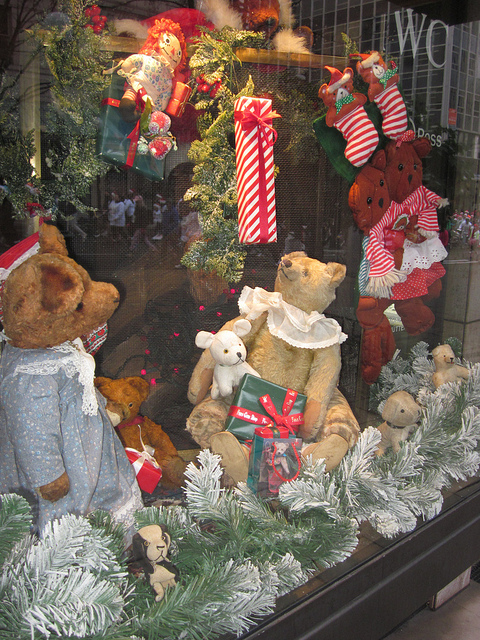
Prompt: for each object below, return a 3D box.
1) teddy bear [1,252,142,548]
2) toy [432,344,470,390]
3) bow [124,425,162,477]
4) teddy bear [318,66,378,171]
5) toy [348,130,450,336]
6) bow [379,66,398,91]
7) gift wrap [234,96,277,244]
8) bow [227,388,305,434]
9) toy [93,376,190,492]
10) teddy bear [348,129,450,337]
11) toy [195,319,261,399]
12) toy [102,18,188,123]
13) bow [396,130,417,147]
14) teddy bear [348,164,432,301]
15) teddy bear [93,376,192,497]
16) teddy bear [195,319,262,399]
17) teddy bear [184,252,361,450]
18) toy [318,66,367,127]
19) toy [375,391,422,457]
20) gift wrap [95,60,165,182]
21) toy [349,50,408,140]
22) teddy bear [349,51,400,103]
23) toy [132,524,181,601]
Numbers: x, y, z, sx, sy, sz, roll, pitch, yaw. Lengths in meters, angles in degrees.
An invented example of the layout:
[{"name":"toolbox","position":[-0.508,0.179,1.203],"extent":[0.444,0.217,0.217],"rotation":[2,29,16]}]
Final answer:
[{"name":"teddy bear","position":[-0.390,0.169,1.242],"extent":[0.310,0.635,0.169],"rotation":[-14,18,-41]},{"name":"toy","position":[0.809,0.183,2.155],"extent":[0.138,0.158,0.118],"rotation":[-21,10,-13]},{"name":"bow","position":[-0.258,0.361,1.502],"extent":[0.092,0.031,0.086],"rotation":[22,17,-42]},{"name":"teddy bear","position":[0.326,-0.597,1.679],"extent":[0.063,0.269,0.211],"rotation":[10,17,41]},{"name":"toy","position":[0.544,-0.326,1.938],"extent":[0.483,0.713,0.263],"rotation":[-32,38,-25]},{"name":"bow","position":[0.457,-0.742,1.709],"extent":[0.045,0.063,0.023],"rotation":[-13,24,-28]},{"name":"gift wrap","position":[0.043,-0.431,1.559],"extent":[0.106,0.373,0.139],"rotation":[-8,16,-17]},{"name":"bow","position":[0.088,0.263,1.492],"extent":[0.226,0.138,0.075],"rotation":[-7,14,-23]},{"name":"toy","position":[-0.322,0.322,1.537],"extent":[0.271,0.306,0.220],"rotation":[-6,7,-39]},{"name":"teddy bear","position":[0.545,-0.327,1.939],"extent":[0.499,0.731,0.264],"rotation":[-30,35,-26]},{"name":"toy","position":[-0.044,0.085,1.568],"extent":[0.187,0.204,0.271],"rotation":[-3,20,-11]},{"name":"toy","position":[-0.228,-0.604,1.383],"extent":[0.160,0.257,0.171],"rotation":[12,-12,31]},{"name":"bow","position":[0.545,-0.607,1.864],"extent":[0.045,0.075,0.018],"rotation":[33,19,-49]},{"name":"teddy bear","position":[0.510,-0.291,1.914],"extent":[0.332,0.419,0.194],"rotation":[-15,16,-23]},{"name":"teddy bear","position":[-0.264,0.309,1.478],"extent":[0.190,0.305,0.237],"rotation":[12,47,47]},{"name":"teddy bear","position":[-0.039,0.110,1.539],"extent":[0.173,0.199,0.131],"rotation":[-19,30,-27]},{"name":"teddy bear","position":[0.129,0.079,1.663],"extent":[0.575,0.538,0.473],"rotation":[6,24,21]},{"name":"toy","position":[0.289,-0.667,1.627],"extent":[0.151,0.158,0.048],"rotation":[-38,43,-9]},{"name":"toy","position":[0.501,0.338,1.802],"extent":[0.131,0.201,0.162],"rotation":[10,17,41]},{"name":"gift wrap","position":[-0.267,-0.474,1.338],"extent":[0.036,0.267,0.181],"rotation":[9,17,39]},{"name":"toy","position":[0.468,-0.713,1.748],"extent":[0.151,0.279,0.067],"rotation":[-37,20,-10]},{"name":"teddy bear","position":[0.423,-0.762,1.691],"extent":[0.144,0.145,0.063],"rotation":[-34,18,-7]},{"name":"toy","position":[-0.166,0.468,1.078],"extent":[0.076,0.124,0.090],"rotation":[-16,-11,35]}]
